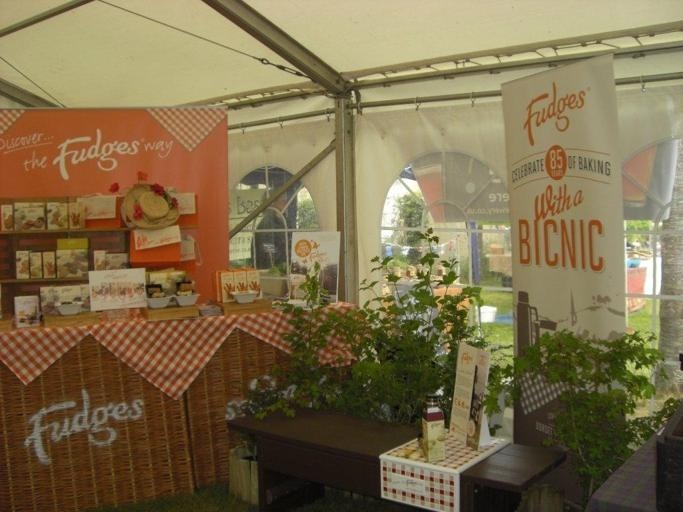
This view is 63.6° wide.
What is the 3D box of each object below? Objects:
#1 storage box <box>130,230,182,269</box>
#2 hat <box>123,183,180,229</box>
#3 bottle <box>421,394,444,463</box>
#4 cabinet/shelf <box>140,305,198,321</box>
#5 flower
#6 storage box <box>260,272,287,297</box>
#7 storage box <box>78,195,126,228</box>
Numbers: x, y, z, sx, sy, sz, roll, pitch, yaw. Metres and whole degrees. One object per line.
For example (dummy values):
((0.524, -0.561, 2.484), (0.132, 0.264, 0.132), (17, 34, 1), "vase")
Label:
((-1.537, -0.051, 4.547), (0.328, 0.215, 0.344), (-1, 9, -7), "storage box")
((-1.570, -0.405, 4.523), (0.450, 0.369, 0.180), (2, -5, -22), "hat")
((0.484, 0.893, 2.905), (0.124, 0.349, 0.173), (-1, -4, 8), "bottle")
((-1.277, 0.423, 4.135), (0.401, 0.102, 0.193), (1, -4, -21), "cabinet/shelf")
((-1.587, -0.410, 4.542), (0.454, 0.453, 0.162), (-33, 2, -23), "flower")
((-0.874, 0.367, 7.068), (0.457, 0.321, 0.134), (-4, -6, 41), "storage box")
((-1.982, -0.371, 4.561), (0.397, 0.347, 0.240), (-1, 0, -22), "storage box")
